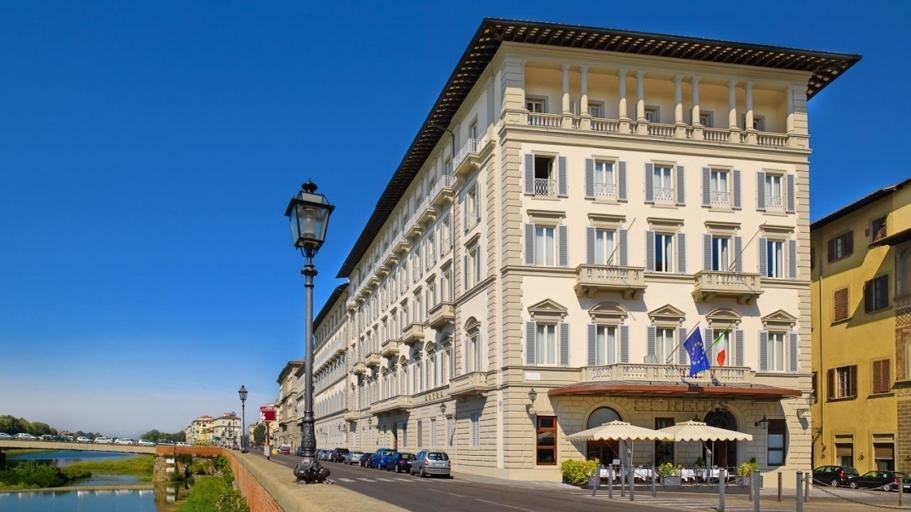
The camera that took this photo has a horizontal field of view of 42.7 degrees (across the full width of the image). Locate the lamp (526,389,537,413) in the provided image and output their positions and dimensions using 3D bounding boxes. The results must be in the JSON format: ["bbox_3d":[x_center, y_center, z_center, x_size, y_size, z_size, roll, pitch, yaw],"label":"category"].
[{"bbox_3d":[7.339,13.915,112.239,0.992,2.319,1.167,3,-21,1],"label":"lamp"}]

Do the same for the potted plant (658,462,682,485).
[{"bbox_3d":[20.198,20.665,110.266,2.352,2.101,1.653,2,-6,-1],"label":"potted plant"}]

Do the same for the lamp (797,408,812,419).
[{"bbox_3d":[34.262,15.654,115.260,0.876,1.036,0.434,4,-3,8],"label":"lamp"}]

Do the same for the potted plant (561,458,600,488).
[{"bbox_3d":[11.618,20.624,110.586,2.804,1.450,2.711,11,-13,-43],"label":"potted plant"}]
